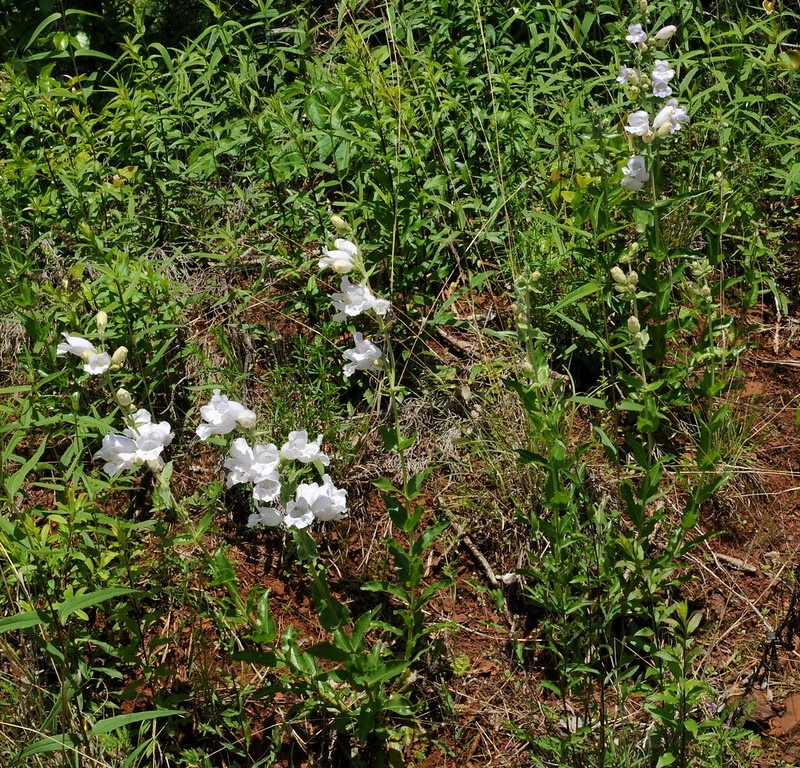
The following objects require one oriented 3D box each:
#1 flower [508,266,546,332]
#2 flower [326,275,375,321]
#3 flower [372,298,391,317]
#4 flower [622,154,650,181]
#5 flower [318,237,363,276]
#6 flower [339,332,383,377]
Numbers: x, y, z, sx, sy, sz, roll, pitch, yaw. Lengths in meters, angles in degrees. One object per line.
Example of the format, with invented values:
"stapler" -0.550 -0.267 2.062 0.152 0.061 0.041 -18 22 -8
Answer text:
"flower" 0.504 -0.337 3.175 0.170 0.329 0.164 4 63 3
"flower" -0.146 -0.259 2.571 0.073 0.167 0.159 -37 59 -26
"flower" -0.064 -0.249 2.517 0.047 0.054 0.067 -10 51 -8
"flower" 0.898 -0.818 3.075 0.087 0.102 0.043 26 48 21
"flower" -0.177 -0.397 2.573 0.144 0.073 0.129 28 94 48
"flower" -0.121 -0.103 2.619 0.090 0.138 0.146 12 30 31
